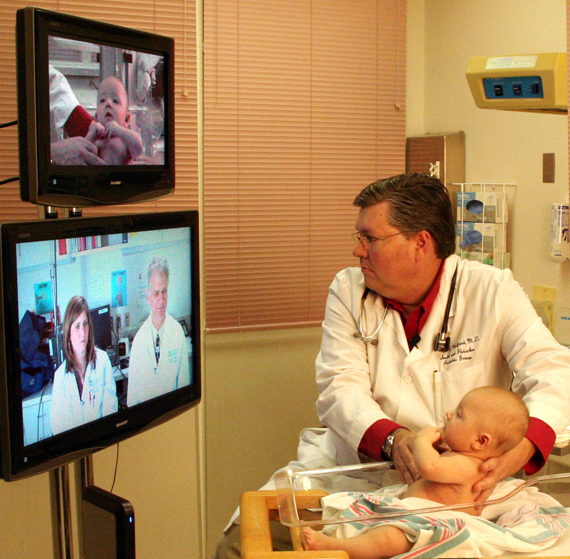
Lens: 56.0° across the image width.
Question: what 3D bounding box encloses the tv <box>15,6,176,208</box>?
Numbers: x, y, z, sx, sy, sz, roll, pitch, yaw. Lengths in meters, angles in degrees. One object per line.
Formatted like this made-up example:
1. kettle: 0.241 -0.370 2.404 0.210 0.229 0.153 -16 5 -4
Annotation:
1. tv: -0.446 -0.426 1.373 0.088 0.478 0.514 1 6 26
